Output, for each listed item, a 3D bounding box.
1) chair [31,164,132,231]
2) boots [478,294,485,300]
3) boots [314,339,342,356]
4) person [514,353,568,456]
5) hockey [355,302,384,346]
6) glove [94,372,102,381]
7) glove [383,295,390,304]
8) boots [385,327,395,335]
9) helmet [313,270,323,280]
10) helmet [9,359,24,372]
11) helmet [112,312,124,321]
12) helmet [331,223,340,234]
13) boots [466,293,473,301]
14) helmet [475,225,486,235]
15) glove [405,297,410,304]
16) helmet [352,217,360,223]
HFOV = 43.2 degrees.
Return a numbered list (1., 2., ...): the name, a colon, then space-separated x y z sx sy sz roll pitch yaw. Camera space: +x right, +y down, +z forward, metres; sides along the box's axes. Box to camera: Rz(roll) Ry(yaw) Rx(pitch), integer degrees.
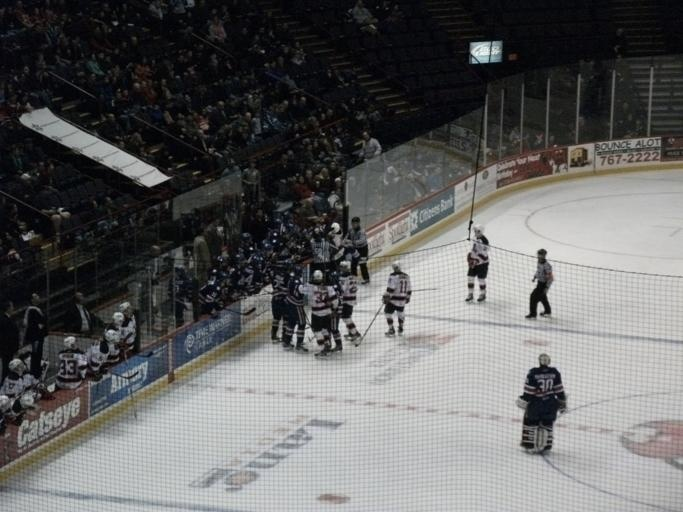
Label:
1. chair: -7.124 -1.654 23.200 1.595 1.537 2.300 8 18 40
2. boots: 3.586 1.026 21.592 0.148 0.067 0.193 -1 6 6
3. boots: -0.247 2.024 19.443 0.720 0.367 0.275 -12 16 -31
4. person: 3.699 2.713 15.638 0.839 1.900 0.278 -1 15 13
5. hockey: 0.721 1.673 20.697 0.174 0.340 2.271 43 23 0
6. glove: -4.770 2.354 16.868 0.151 0.142 0.130 -13 21 -40
7. glove: 1.073 0.971 19.623 0.142 0.131 0.250 6 -23 5
8. boots: 1.209 1.739 20.140 0.123 0.222 0.241 -7 12 -32
9. helmet: -0.488 0.411 19.135 0.174 0.204 0.208 3 22 0
10. helmet: -6.042 2.007 15.942 0.191 0.198 0.241 1 -4 -32
11. helmet: -4.515 1.217 17.410 0.152 0.135 0.181 4 0 -21
12. helmet: -0.062 -0.736 22.554 0.281 0.262 0.207 -5 2 24
13. boots: 3.291 1.007 21.617 0.204 0.205 0.245 -2 14 8
14. helmet: 3.475 -0.673 21.323 0.219 0.214 0.329 -3 13 2
15. glove: 1.597 1.012 19.792 0.136 0.096 0.136 -3 9 -13
16. helmet: 0.418 -0.953 22.343 0.135 0.145 0.176 -4 -2 1
